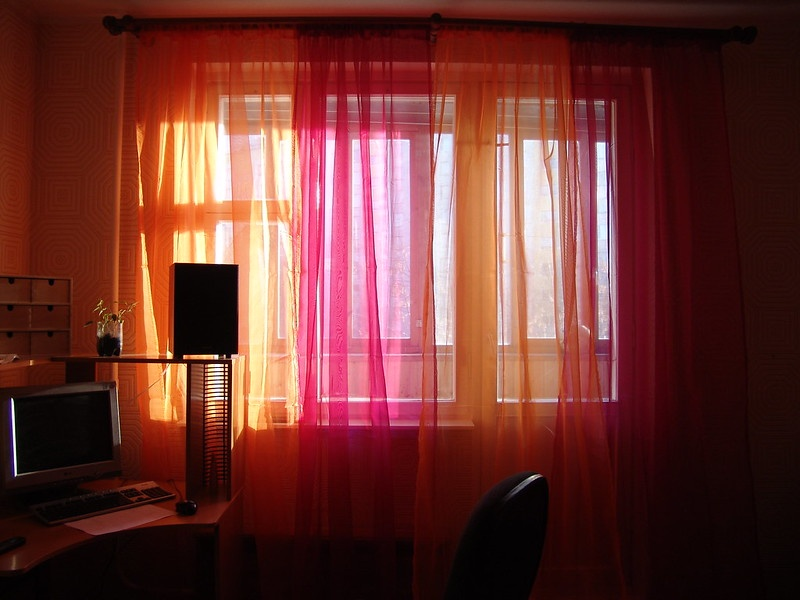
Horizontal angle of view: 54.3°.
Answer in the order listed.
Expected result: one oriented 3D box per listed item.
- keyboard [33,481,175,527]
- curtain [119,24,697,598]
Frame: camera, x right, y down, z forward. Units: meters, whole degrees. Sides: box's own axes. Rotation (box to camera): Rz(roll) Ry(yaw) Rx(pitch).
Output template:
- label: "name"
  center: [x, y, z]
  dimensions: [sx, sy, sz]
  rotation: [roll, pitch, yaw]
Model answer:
- label: "keyboard"
  center: [-1.545, 1.070, 4.104]
  dimensions: [0.694, 0.117, 0.228]
  rotation: [0, 1, -29]
- label: "curtain"
  center: [0.008, 0.148, 4.407]
  dimensions: [2.692, 3.285, 0.216]
  rotation: [0, -2, -1]
